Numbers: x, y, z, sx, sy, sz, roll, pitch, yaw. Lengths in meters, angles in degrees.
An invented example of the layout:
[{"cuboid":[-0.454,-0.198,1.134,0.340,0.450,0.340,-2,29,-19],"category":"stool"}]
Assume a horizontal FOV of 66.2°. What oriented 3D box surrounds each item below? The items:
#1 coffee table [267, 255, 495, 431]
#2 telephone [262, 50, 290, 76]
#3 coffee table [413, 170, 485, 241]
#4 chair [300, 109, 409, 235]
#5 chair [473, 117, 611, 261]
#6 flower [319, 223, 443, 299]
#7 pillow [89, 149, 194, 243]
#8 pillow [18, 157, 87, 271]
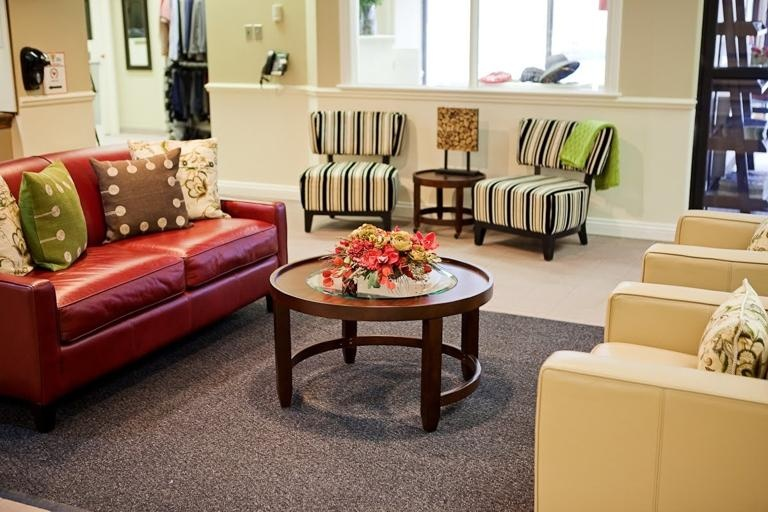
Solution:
[{"cuboid":[0.032,0.350,3.089,0.970,0.553,0.933,2,15,8],"category":"coffee table"},{"cuboid":[-1.177,-2.084,6.359,0.285,0.270,0.126,8,10,14],"category":"telephone"},{"cuboid":[0.583,-0.525,5.542,0.702,0.572,0.662,3,14,17],"category":"coffee table"},{"cuboid":[-0.265,-0.837,5.747,0.967,1.070,0.911,0,20,4],"category":"chair"},{"cuboid":[1.329,-0.637,5.438,1.225,1.343,1.265,11,17,41],"category":"chair"},{"cuboid":[-0.016,0.019,2.762,0.411,0.184,0.404,-7,2,-5],"category":"flower"},{"cuboid":[-1.509,-0.355,3.615,0.510,0.417,0.231,-17,23,-30],"category":"pillow"},{"cuboid":[-1.741,-0.200,3.078,0.285,0.527,0.551,1,15,-3],"category":"pillow"}]
